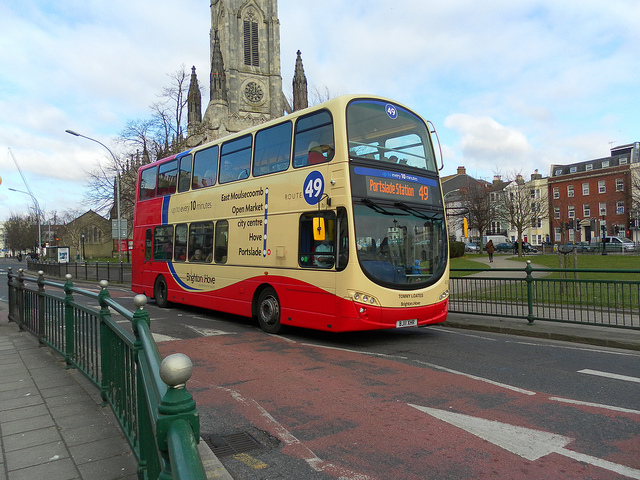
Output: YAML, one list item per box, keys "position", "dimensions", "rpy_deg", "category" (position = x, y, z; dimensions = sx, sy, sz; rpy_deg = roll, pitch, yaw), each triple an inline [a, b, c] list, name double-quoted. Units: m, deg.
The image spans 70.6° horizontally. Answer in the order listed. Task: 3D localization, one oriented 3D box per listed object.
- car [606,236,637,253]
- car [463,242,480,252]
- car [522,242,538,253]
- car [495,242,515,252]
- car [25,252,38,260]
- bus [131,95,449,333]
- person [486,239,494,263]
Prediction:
- position: [32.219, 0.456, 48.659]
  dimensions: [2.032, 1.757, 3.405]
  rpy_deg: [1, -5, -27]
  category: "car"
- position: [21.516, 0.967, 64.341]
  dimensions: [2.115, 1.182, 1.258]
  rpy_deg: [-5, -4, 28]
  category: "car"
- position: [26.696, 0.889, 57.629]
  dimensions: [2.437, 1.141, 1.276]
  rpy_deg: [-6, -5, 29]
  category: "car"
- position: [24.893, 0.919, 61.187]
  dimensions: [3.131, 1.473, 1.926]
  rpy_deg: [-6, -1, 25]
  category: "car"
- position: [-61.035, 3.225, 95.460]
  dimensions: [1.642, 1.995, 7.130]
  rpy_deg: [-1, -2, -37]
  category: "car"
- position: [-1.835, -0.455, 14.263]
  dimensions: [3.694, 5.429, 11.713]
  rpy_deg: [2, -2, -42]
  category: "bus"
- position: [13.767, 0.790, 36.499]
  dimensions: [0.368, 1.627, 2.739]
  rpy_deg: [1, 2, 18]
  category: "person"
